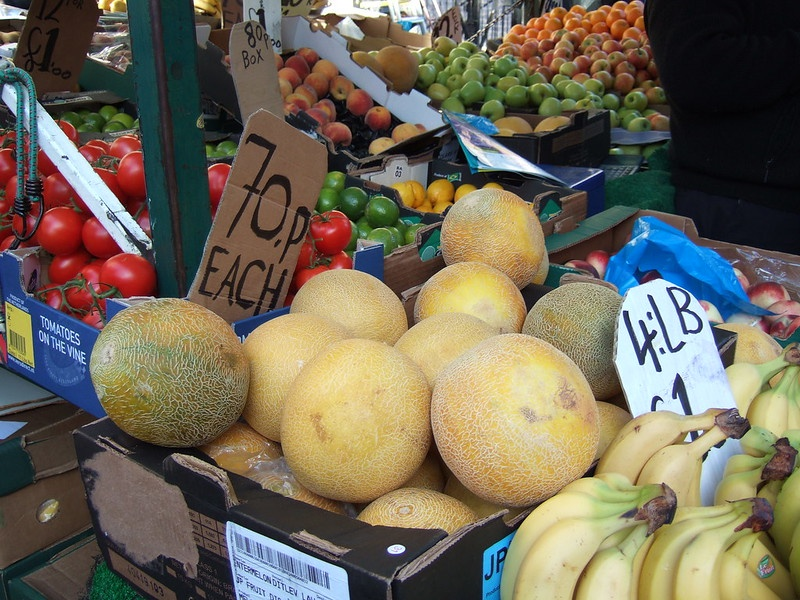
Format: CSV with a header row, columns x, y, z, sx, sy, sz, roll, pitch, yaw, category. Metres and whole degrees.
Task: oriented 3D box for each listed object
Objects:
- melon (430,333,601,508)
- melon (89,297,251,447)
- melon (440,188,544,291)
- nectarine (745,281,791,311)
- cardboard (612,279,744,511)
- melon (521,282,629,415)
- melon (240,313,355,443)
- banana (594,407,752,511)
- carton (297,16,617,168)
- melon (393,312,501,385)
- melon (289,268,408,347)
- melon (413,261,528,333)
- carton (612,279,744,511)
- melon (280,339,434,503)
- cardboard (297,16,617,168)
x,y,z,sx,sy,sz,roll,pitch,yaw,category
0.262,0.342,1.693,0.362,0.304,0.398,22,60,3,melon
-0.550,0.200,1.750,0.300,0.331,0.396,-15,-15,28,melon
0.382,-0.194,2.461,0.317,0.414,0.311,-19,2,-43,melon
1.629,-0.011,2.910,0.168,0.090,0.195,26,33,26,nectarine
0.763,0.318,1.935,0.344,0.695,0.094,-15,1,-27,cardboard
0.556,0.083,2.076,0.318,0.395,0.324,-27,-3,26,melon
-0.289,0.177,1.961,0.294,0.401,0.320,3,8,25,melon
0.666,0.392,1.668,0.375,0.133,0.231,-26,68,-18,banana
0.487,-1.580,5.038,2.003,0.566,1.834,32,38,21,carton
0.123,0.113,1.863,0.231,0.153,0.185,-10,37,5,melon
-0.156,0.051,2.113,0.291,0.241,0.239,26,39,-13,melon
0.235,-0.055,2.129,0.269,0.236,0.237,0,21,5,melon
0.751,0.319,1.911,0.344,0.695,0.094,-15,1,-27,carton
-0.058,0.351,1.783,0.355,0.459,0.348,-4,-15,17,melon
0.487,-1.580,5.038,2.003,0.566,1.833,32,38,21,cardboard
